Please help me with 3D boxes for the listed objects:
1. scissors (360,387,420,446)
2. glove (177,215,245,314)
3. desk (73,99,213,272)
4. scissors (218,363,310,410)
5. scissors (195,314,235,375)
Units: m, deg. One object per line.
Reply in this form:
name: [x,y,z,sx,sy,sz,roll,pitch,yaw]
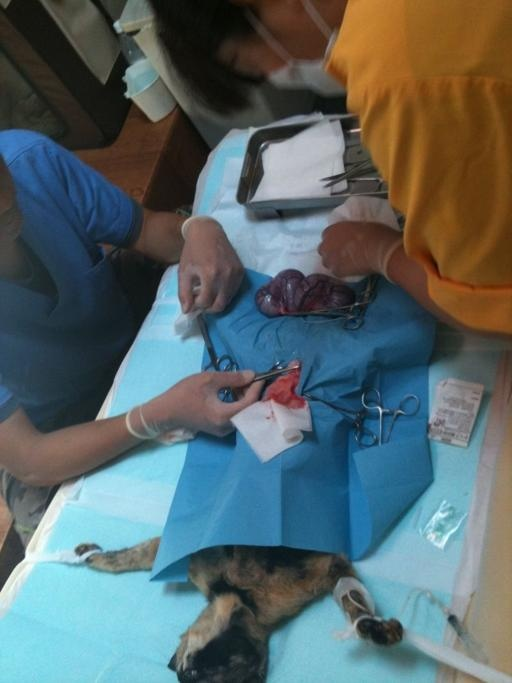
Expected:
scissors: [0.208,0.115,0.859,0.081,0.021,0.081,5,54,27]
glove: [-0.095,-0.152,1.178,0.168,0.067,0.192,-5,59,4]
desk: [-0.372,-0.618,1.956,0.334,0.302,0.242,40,69,-16]
scissors: [0.016,0.079,0.942,0.071,0.105,0.032,-13,87,-29]
scissors: [-0.084,0.007,1.069,0.051,0.022,0.120,-39,55,36]
